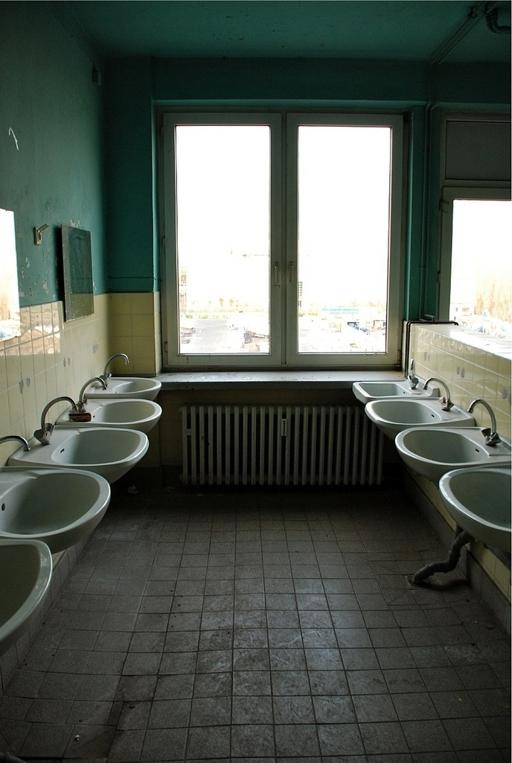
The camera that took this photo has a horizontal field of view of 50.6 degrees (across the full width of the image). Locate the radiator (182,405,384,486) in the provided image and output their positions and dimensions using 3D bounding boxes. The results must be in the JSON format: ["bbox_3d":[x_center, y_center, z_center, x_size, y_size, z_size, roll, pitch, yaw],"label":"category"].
[{"bbox_3d":[0.183,0.418,3.656,1.332,0.543,0.269,0,7,0],"label":"radiator"}]

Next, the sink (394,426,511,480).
[{"bbox_3d":[0.759,0.287,2.277,0.284,0.139,0.274,-3,17,-9],"label":"sink"}]

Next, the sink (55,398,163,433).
[{"bbox_3d":[-0.666,0.164,2.801,0.261,0.111,0.229,1,20,-2],"label":"sink"}]

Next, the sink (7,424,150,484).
[{"bbox_3d":[-0.654,0.287,2.243,0.316,0.144,0.305,2,17,1],"label":"sink"}]
